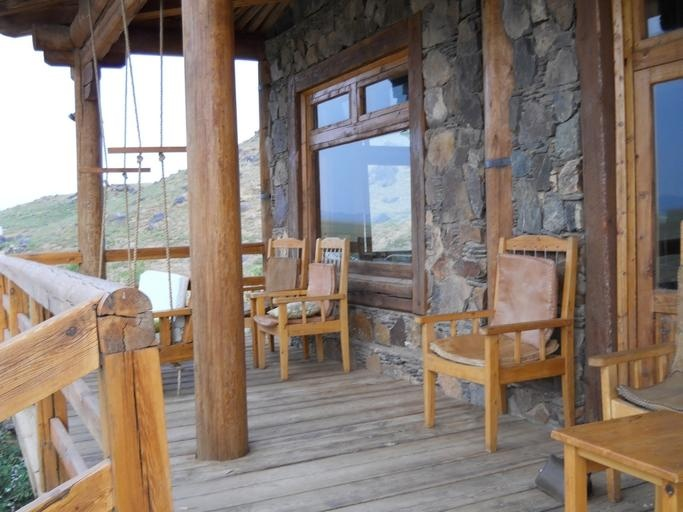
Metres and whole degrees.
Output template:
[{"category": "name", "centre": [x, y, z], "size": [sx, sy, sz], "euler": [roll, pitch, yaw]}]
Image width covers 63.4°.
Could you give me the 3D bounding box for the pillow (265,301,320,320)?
[{"category": "pillow", "centre": [-0.420, 0.471, 5.033], "size": [0.464, 0.164, 0.498], "euler": [-3, 5, -12]}]

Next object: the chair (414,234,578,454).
[{"category": "chair", "centre": [0.981, 0.493, 3.542], "size": [0.839, 1.236, 0.787], "euler": [-4, 6, -21]}]
